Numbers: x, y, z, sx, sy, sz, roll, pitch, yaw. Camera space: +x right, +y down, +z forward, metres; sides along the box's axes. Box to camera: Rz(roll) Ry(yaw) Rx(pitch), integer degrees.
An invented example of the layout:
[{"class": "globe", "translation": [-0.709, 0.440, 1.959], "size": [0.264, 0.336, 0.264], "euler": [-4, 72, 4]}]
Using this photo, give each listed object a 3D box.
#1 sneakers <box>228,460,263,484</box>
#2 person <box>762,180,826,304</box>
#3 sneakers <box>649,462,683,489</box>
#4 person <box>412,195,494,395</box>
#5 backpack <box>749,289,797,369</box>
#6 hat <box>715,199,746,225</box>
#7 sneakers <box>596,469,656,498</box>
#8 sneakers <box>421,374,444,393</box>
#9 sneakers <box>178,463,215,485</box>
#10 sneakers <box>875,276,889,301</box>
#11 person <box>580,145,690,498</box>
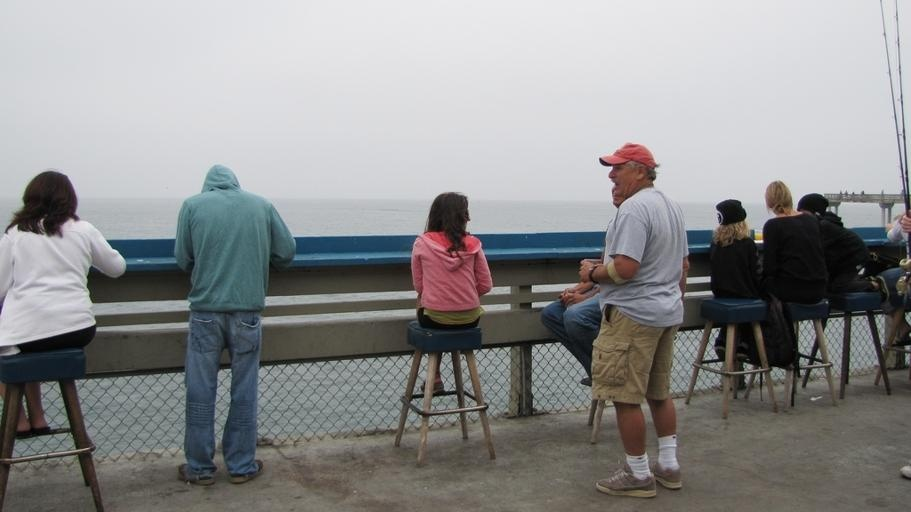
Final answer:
[{"class": "sneakers", "translation": [-1.971, 2.050, 6.347], "size": [0.120, 0.124, 0.333], "euler": [3, 4, 24]}, {"class": "person", "translation": [3.975, -0.142, 7.830], "size": [0.722, 1.424, 0.500], "euler": [5, 13, 23]}, {"class": "sneakers", "translation": [1.944, 2.035, 6.196], "size": [0.150, 0.135, 0.334], "euler": [0, 2, -15]}, {"class": "person", "translation": [-0.037, 0.058, 6.667], "size": [0.772, 1.355, 0.417], "euler": [0, 12, 2]}, {"class": "backpack", "translation": [3.760, 0.886, 7.782], "size": [0.402, 0.844, 0.222], "euler": [5, 13, 25]}, {"class": "hat", "translation": [3.241, -0.513, 7.841], "size": [0.341, 0.291, 0.235], "euler": [1, 12, 6]}, {"class": "sneakers", "translation": [1.552, 2.072, 6.166], "size": [0.585, 0.244, 0.206], "euler": [2, -2, 10]}, {"class": "sneakers", "translation": [-0.226, 1.401, 7.222], "size": [0.224, 0.222, 0.540], "euler": [2, -3, -8]}, {"class": "sneakers", "translation": [-2.425, 2.058, 6.308], "size": [0.385, 0.152, 0.143], "euler": [12, 6, 40]}, {"class": "sneakers", "translation": [5.380, 0.415, 8.425], "size": [0.214, 0.276, 0.105], "euler": [3, -14, -33]}, {"class": "person", "translation": [1.636, 0.583, 6.337], "size": [1.014, 3.130, 1.261], "euler": [-2, -4, 43]}]
